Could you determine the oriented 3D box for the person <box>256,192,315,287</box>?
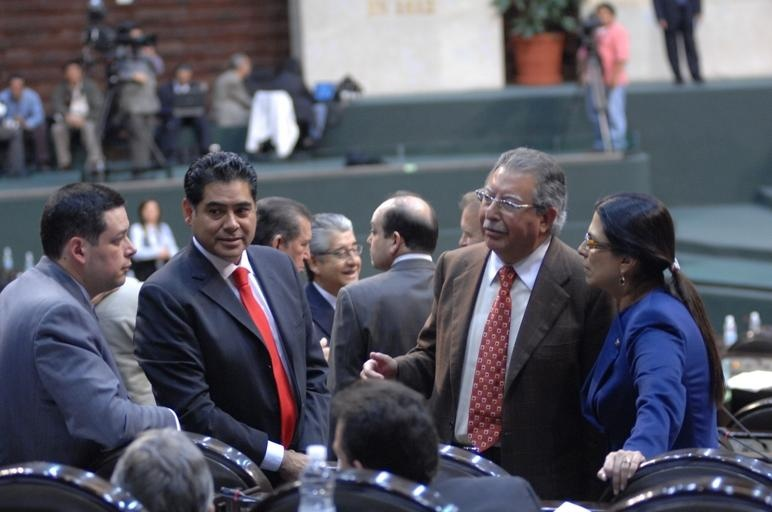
[{"bbox_3d":[-0.988,-0.135,14.344,0.566,0.902,0.516,14,9,7],"label":"person"}]

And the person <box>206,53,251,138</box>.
[{"bbox_3d":[-1.896,-2.081,20.211,0.546,1.088,0.456,1,22,3],"label":"person"}]

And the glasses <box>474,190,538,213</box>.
[{"bbox_3d":[1.037,-0.473,13.159,0.460,0.189,0.069,-3,5,13],"label":"glasses"}]

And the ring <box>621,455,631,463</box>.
[{"bbox_3d":[1.910,1.603,12.515,0.053,0.058,0.017,11,1,11],"label":"ring"}]

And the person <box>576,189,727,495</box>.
[{"bbox_3d":[2.127,0.641,12.764,1.139,2.292,0.718,-3,5,7],"label":"person"}]

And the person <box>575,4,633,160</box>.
[{"bbox_3d":[2.743,-2.220,19.685,0.572,1.810,0.538,-3,5,9],"label":"person"}]
